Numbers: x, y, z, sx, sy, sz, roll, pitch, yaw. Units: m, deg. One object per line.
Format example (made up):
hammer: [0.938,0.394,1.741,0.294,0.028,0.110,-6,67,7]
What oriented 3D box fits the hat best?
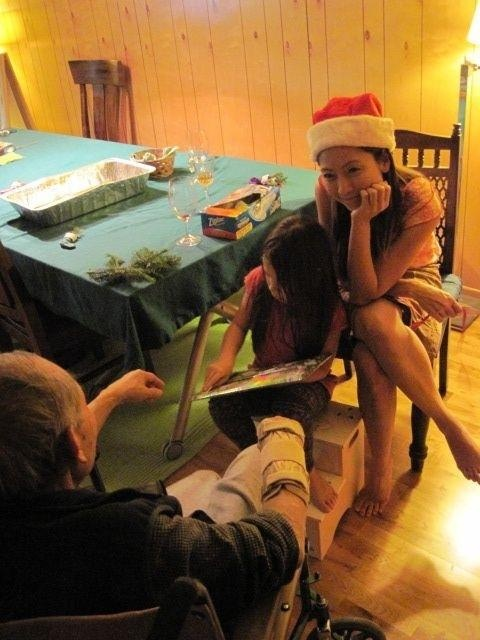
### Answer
hat: [0.313,-0.543,1.340,0.202,0.129,0.196,1,23,13]
